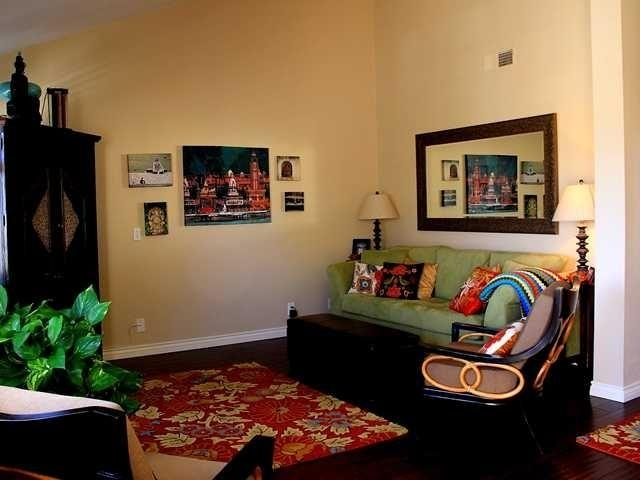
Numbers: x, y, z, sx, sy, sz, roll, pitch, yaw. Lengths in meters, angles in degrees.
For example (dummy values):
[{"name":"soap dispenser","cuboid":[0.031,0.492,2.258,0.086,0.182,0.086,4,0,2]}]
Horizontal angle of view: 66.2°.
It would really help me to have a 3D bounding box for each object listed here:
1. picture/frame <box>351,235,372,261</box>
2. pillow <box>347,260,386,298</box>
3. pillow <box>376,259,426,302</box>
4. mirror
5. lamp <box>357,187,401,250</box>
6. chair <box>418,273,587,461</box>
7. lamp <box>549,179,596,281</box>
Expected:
[{"name":"picture/frame","cuboid":[0.527,0.111,6.242,0.270,0.363,0.030,10,-24,-6]},{"name":"pillow","cuboid":[0.530,0.431,5.565,0.358,0.337,0.108,7,-13,31]},{"name":"pillow","cuboid":[0.885,0.431,5.322,0.441,0.403,0.133,7,-19,40]},{"name":"mirror","cuboid":[1.856,-0.707,5.225,0.076,1.001,1.488,-3,4,-41]},{"name":"lamp","cuboid":[0.754,-0.249,6.345,0.514,0.753,0.513,-2,7,-23]},{"name":"chair","cuboid":[1.202,0.769,3.290,0.939,0.962,0.824,0,0,22]},{"name":"lamp","cuboid":[2.300,-0.147,4.316,0.452,0.748,0.441,-10,6,-40]}]
